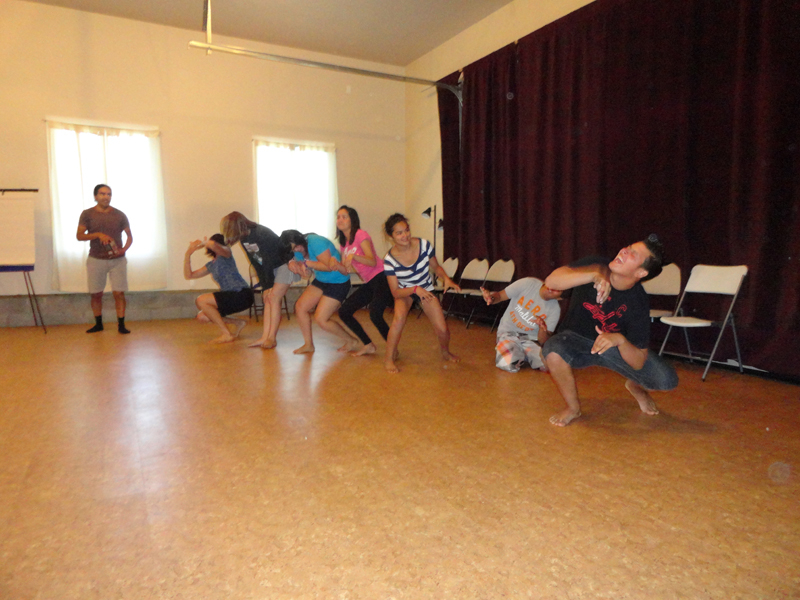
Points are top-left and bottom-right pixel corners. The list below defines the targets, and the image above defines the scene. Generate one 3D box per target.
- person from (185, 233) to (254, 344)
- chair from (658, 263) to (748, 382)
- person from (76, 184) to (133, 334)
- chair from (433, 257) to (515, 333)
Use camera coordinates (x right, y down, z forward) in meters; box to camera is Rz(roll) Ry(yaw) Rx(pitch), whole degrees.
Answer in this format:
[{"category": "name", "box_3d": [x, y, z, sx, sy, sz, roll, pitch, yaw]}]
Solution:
[{"category": "person", "box_3d": [-1.896, -0.125, 6.132, 0.726, 1.184, 0.655, 0, -1, -5]}, {"category": "chair", "box_3d": [2.392, 0.170, 4.726, 0.584, 0.906, 0.625, 3, 7, 36]}, {"category": "person", "box_3d": [-3.484, -0.486, 7.027, 0.580, 1.702, 0.854, -6, 13, -27]}, {"category": "chair", "box_3d": [0.903, -0.081, 7.476, 0.848, 1.234, 0.862, 2, -1, 42]}]
